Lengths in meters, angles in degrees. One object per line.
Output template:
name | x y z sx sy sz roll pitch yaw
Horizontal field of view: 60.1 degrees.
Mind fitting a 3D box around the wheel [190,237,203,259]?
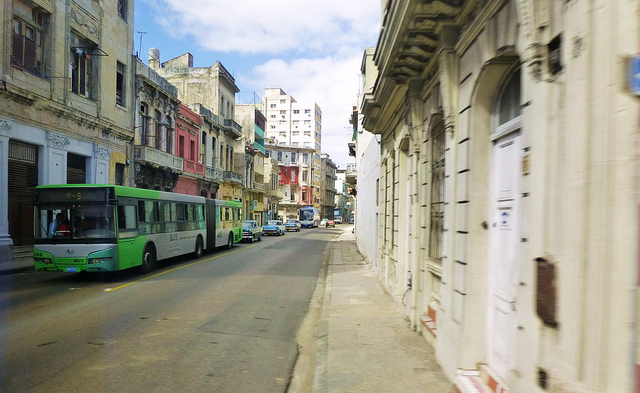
wheel | -5.368 2.201 24.043 0.271 0.783 0.791 -7 -17 9

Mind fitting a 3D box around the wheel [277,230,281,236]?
wheel | -3.481 3.036 47.427 0.214 0.396 0.727 0 0 -4

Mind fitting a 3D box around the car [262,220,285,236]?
car | -4.001 2.702 47.307 1.788 1.120 4.380 0 0 -5

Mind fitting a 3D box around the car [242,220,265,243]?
car | -4.576 2.389 37.739 1.331 1.012 2.993 -1 -5 8

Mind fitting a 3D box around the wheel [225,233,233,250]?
wheel | -4.869 2.361 29.519 0.252 0.770 0.772 -4 -8 10

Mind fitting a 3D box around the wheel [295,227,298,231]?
wheel | -2.388 3.260 56.363 0.194 0.384 0.653 0 0 -3

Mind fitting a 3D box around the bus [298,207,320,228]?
bus | -1.655 2.866 75.859 2.263 2.334 7.798 -1 -8 2

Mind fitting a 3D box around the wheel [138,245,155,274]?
wheel | -5.925 2.116 18.864 0.274 0.847 0.853 -2 -14 6
